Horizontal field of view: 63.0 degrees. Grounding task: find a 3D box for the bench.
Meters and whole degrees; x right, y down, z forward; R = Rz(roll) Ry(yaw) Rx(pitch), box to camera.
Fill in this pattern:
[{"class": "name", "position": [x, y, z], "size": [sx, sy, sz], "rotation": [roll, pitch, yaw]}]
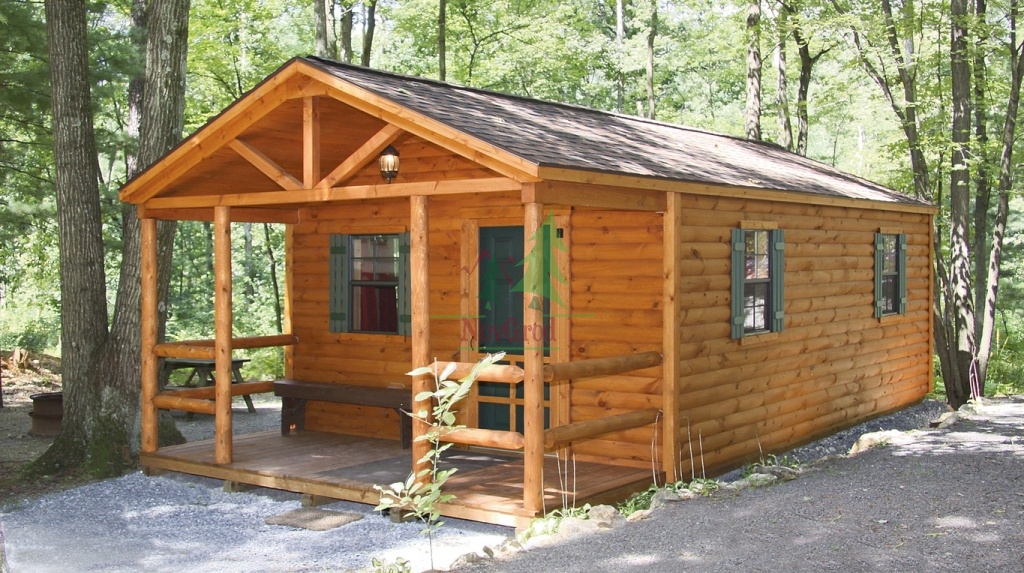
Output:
[{"class": "bench", "position": [-2.857, 2.169, 14.758], "size": [2.956, 0.760, 0.711], "rotation": [-1, 0, 23]}]
